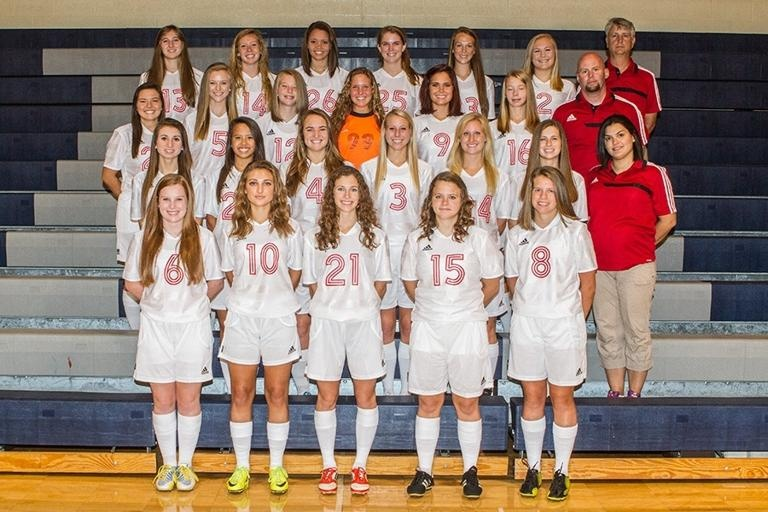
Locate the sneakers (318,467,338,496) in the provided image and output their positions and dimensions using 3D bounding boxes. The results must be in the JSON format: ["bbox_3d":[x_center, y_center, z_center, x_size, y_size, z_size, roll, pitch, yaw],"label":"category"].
[{"bbox_3d":[-0.425,1.624,8.054,0.134,0.191,0.161,-1,2,-3],"label":"sneakers"}]

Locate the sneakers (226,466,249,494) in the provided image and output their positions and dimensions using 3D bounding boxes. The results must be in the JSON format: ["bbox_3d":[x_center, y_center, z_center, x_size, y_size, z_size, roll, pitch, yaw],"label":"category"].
[{"bbox_3d":[-1.057,1.625,8.062,0.243,0.174,0.135,-2,2,-44],"label":"sneakers"}]

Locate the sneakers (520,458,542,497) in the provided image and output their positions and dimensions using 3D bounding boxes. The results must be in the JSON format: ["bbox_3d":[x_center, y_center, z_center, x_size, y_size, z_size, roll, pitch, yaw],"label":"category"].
[{"bbox_3d":[1.051,1.625,8.057,0.146,0.228,0.185,0,2,16],"label":"sneakers"}]

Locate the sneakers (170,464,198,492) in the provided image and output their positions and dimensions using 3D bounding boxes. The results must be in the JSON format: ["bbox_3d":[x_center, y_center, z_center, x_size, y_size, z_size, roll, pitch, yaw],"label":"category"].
[{"bbox_3d":[-1.470,1.616,8.016,0.116,0.086,0.228,-1,10,-11],"label":"sneakers"}]

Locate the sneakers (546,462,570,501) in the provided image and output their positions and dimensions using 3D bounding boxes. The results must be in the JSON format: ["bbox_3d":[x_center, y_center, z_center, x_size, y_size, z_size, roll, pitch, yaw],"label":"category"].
[{"bbox_3d":[1.251,1.660,7.990,0.107,0.102,0.271,0,21,18],"label":"sneakers"}]

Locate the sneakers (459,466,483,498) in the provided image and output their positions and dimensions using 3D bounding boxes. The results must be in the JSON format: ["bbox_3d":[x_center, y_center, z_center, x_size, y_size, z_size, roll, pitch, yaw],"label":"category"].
[{"bbox_3d":[0.625,1.634,8.012,0.147,0.215,0.146,0,2,1],"label":"sneakers"}]

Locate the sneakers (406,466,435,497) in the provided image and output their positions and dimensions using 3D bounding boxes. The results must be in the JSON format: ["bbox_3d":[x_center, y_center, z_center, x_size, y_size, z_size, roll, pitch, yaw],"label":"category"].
[{"bbox_3d":[0.259,1.645,8.028,0.230,0.180,0.093,-2,2,-39],"label":"sneakers"}]

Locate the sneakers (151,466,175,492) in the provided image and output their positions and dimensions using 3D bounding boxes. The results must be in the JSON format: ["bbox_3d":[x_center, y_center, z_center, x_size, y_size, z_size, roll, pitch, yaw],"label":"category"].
[{"bbox_3d":[-1.616,1.620,7.999,0.106,0.099,0.243,8,8,-15],"label":"sneakers"}]

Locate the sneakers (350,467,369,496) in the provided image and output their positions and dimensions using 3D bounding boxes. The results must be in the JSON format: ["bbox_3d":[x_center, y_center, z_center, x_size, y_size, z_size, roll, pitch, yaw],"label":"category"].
[{"bbox_3d":[-0.200,1.630,8.040,0.132,0.188,0.141,0,2,-1],"label":"sneakers"}]

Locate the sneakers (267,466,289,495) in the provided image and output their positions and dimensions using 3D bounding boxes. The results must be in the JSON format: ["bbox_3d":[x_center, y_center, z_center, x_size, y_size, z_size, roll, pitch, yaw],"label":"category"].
[{"bbox_3d":[-0.792,1.624,8.068,0.150,0.189,0.196,-1,2,-6],"label":"sneakers"}]
